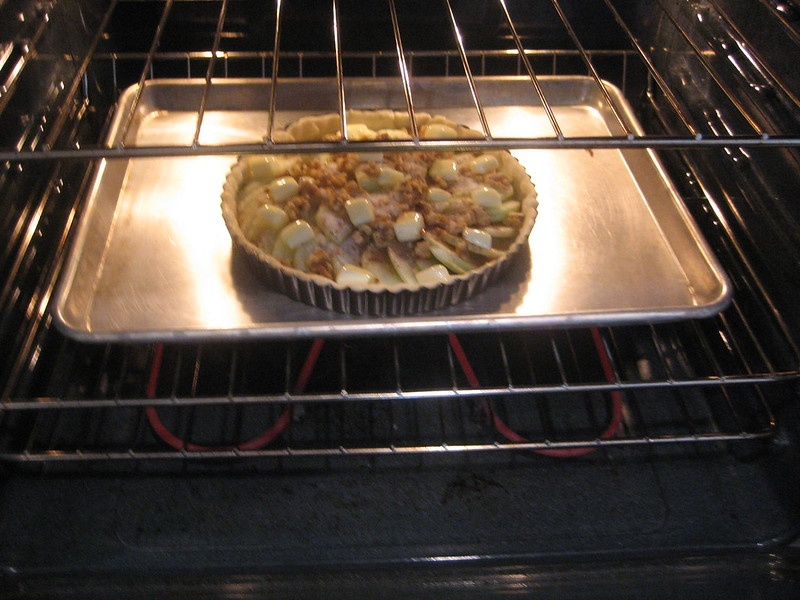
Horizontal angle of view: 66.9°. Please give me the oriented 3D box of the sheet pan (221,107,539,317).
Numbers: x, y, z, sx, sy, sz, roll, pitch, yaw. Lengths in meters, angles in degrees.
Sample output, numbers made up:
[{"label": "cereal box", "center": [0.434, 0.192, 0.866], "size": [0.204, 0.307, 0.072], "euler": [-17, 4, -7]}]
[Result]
[{"label": "sheet pan", "center": [-0.030, -0.145, 1.086], "size": [0.546, 0.161, 0.365], "euler": [-10, 53, -15]}]
